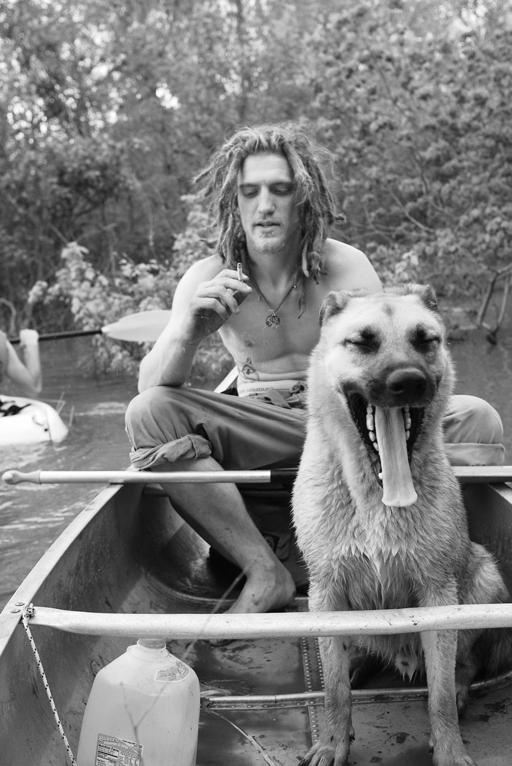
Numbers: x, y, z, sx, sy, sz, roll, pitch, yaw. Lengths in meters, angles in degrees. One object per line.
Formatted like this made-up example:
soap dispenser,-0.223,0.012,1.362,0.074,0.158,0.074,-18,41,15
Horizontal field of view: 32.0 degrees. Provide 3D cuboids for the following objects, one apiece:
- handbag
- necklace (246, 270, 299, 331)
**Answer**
handbag,0.001,0.568,2.989,0.265,0.246,0.082,0,-12,36
necklace,0.059,-0.262,2.951,0.217,0.237,0.030,2,-13,3
